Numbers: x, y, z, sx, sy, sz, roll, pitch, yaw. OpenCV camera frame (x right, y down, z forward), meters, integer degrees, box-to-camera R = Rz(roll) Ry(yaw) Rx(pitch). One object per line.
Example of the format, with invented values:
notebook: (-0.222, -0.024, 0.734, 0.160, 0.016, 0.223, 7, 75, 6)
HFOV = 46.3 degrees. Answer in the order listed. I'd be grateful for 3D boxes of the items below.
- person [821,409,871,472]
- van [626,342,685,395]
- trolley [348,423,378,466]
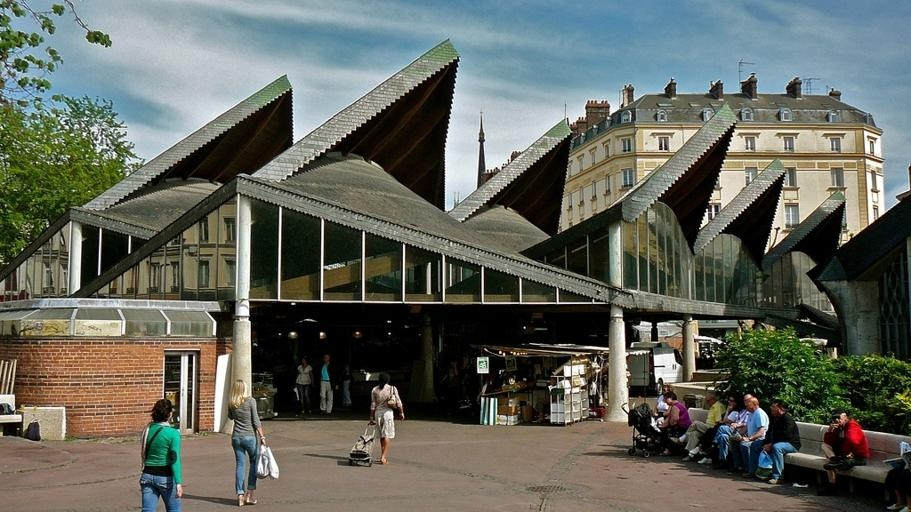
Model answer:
person: (14.632, 7.031, 40.339, 1.566, 2.269, 0.790, 3, 11, 17)
van: (11.852, 7.035, 65.455, 2.980, 2.497, 5.683, -2, -3, 38)
trolley: (-3.757, 7.549, 43.746, 0.863, 0.847, 2.210, 1, 18, 8)
